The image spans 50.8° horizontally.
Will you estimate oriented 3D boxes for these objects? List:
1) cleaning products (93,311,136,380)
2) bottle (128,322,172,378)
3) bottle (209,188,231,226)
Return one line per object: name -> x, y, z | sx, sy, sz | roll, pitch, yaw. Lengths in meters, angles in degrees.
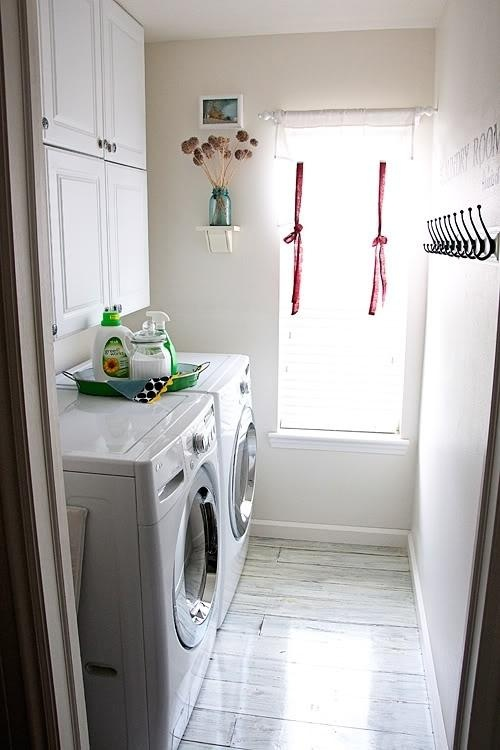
cleaning products -> -0.466, -0.099, 1.787 | 0.133, 0.229, 0.089 | -3, 8, -21
bottle -> -0.341, -0.064, 1.784 | 0.143, 0.150, 0.087 | -2, 8, -14
bottle -> -0.148, -0.807, 2.542 | 0.098, 0.172, 0.075 | -1, 8, -6
